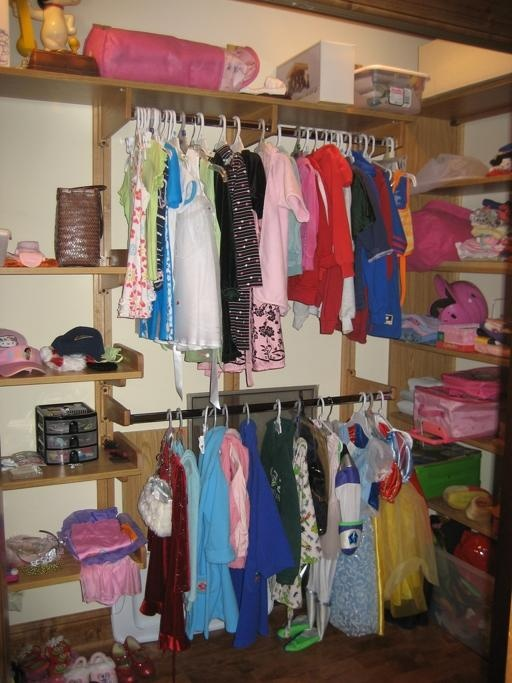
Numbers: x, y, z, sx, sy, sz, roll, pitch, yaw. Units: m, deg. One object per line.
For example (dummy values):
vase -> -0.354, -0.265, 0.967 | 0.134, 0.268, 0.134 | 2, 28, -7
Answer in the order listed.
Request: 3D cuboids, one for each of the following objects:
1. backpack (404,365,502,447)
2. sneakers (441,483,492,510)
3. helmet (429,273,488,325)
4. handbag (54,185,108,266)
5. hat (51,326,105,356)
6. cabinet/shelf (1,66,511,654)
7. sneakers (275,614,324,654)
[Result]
backpack -> 0.807, 0.260, 2.229 | 0.335, 0.141, 0.266 | -3, 11, -19
sneakers -> 0.875, 0.644, 2.314 | 0.117, 0.039, 0.101 | -7, 11, -18
helmet -> 0.824, -0.147, 2.298 | 0.210, 0.217, 0.204 | 8, -7, -7
handbag -> -0.552, -0.363, 1.727 | 0.150, 0.261, 0.142 | -1, 5, -17
hat -> -0.615, -0.007, 1.890 | 0.126, 0.051, 0.114 | 7, 29, 25
cabinet/shelf -> -0.040, 0.089, 1.931 | 2.120, 1.326, 0.350 | -2, 7, -22
sneakers -> 0.171, 1.133, 2.125 | 0.125, 0.041, 0.096 | -2, 7, -27
